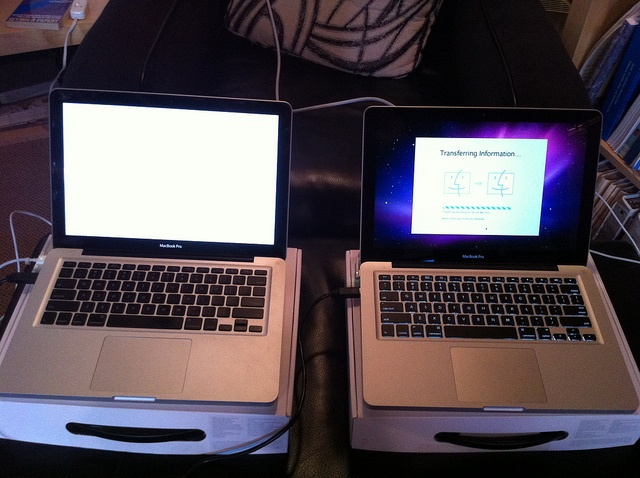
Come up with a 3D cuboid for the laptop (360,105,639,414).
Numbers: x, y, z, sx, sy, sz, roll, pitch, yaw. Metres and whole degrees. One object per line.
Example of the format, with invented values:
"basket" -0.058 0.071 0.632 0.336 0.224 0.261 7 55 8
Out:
"laptop" 0.283 0.080 0.999 0.480 0.470 0.301 2 -24 2
